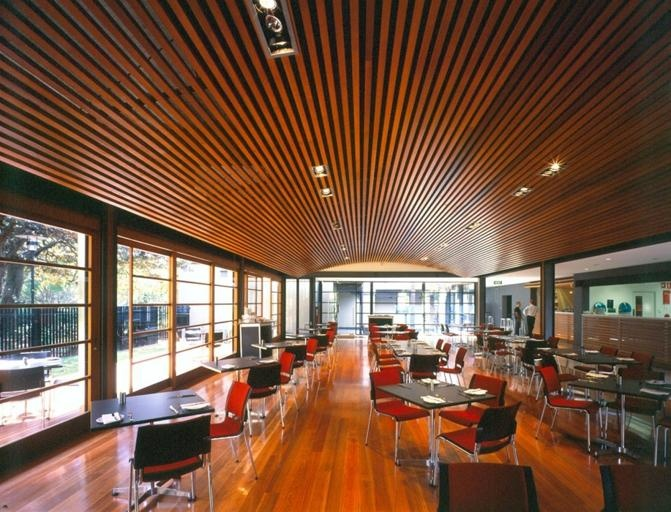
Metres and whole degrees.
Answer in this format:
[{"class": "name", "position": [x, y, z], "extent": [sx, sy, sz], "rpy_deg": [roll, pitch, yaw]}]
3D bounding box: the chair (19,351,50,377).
[{"class": "chair", "position": [-4.073, 1.417, 6.215], "extent": [0.332, 0.446, 0.306], "rpy_deg": [7, 26, -36]}]

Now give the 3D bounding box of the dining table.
[{"class": "dining table", "position": [-2.216, 2.079, 5.374], "extent": [1.330, 1.164, 1.285], "rpy_deg": [4, -5, -35]}]

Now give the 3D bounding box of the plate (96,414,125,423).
[{"class": "plate", "position": [-2.423, 1.735, 4.851], "extent": [0.249, 0.061, 0.319], "rpy_deg": [5, -10, -38]}]
